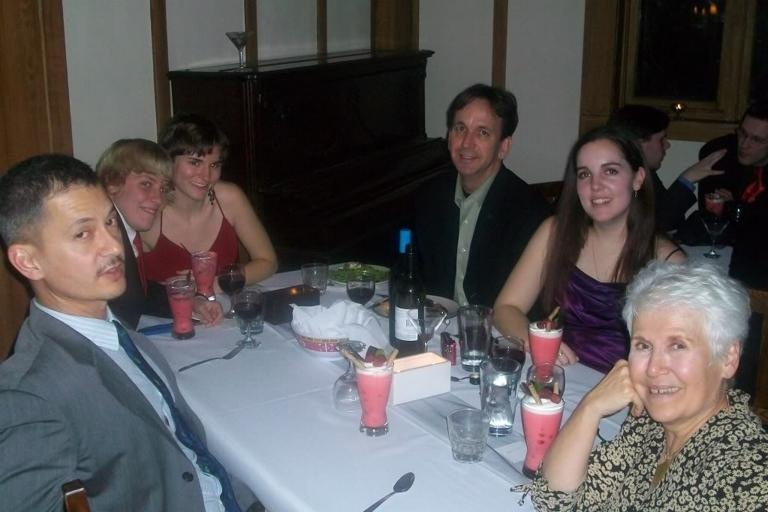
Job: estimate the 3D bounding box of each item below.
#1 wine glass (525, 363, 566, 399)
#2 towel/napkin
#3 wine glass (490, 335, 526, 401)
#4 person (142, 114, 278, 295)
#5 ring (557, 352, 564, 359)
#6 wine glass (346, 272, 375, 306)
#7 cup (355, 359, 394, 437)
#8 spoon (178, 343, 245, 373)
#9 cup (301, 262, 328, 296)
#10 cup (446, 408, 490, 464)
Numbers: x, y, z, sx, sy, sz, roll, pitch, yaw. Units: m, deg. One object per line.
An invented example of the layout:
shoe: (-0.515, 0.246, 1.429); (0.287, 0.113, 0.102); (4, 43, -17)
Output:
wine glass: (0.498, 0.371, 1.822); (0.105, 0.103, 0.106); (-1, -1, -1)
towel/napkin: (-0.177, 0.252, 2.249); (0.244, 0.106, 0.207); (-6, 10, 25)
wine glass: (0.405, 0.388, 2.119); (0.142, 0.161, 0.148); (0, 11, -4)
person: (-0.943, -0.287, 3.248); (0.715, 0.882, 0.573); (-25, 49, -36)
ring: (0.670, 0.377, 2.257); (0.026, 0.006, 0.025); (-12, 27, 6)
wine glass: (-0.097, 0.146, 2.674); (0.121, 0.186, 0.122); (-3, -14, 16)
cup: (-0.022, 0.440, 1.828); (0.118, 0.208, 0.091); (-6, 20, -1)
spoon: (-0.647, 0.390, 2.255); (0.197, 0.028, 0.028); (-15, 42, -24)
cup: (-0.331, 0.098, 2.702); (0.130, 0.144, 0.125); (-1, -1, 0)
cup: (0.243, 0.510, 1.725); (0.126, 0.126, 0.142); (-1, 9, 6)
